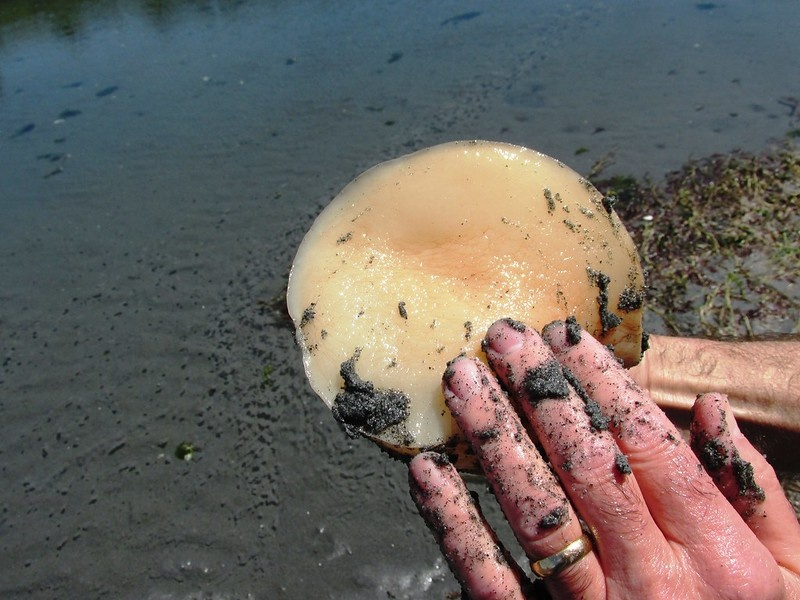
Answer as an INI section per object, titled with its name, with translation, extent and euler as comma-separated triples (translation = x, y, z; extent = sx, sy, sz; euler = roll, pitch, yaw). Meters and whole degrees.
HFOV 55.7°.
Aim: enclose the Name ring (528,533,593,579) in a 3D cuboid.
[Name ring]
translation = 1.172, 1.909, 5.686
extent = 0.429, 0.284, 0.491
euler = 2, 15, 8
